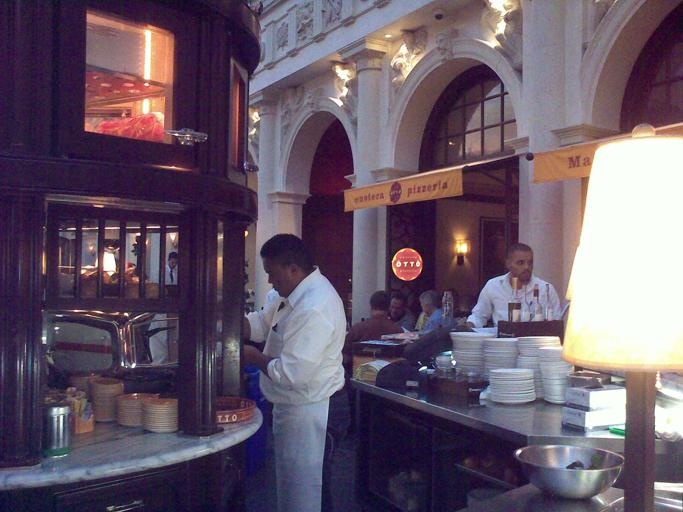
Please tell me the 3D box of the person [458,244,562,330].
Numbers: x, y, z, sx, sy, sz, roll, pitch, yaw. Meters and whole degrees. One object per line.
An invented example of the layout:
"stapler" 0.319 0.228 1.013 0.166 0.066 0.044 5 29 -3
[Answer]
"person" 1.513 0.468 5.750 0.803 1.184 0.662 1 -2 12

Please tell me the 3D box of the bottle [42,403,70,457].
"bottle" -1.286 0.782 2.937 0.108 0.224 0.126 -1 -3 -14

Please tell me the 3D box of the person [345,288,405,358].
"person" 0.355 0.700 7.076 0.561 0.643 0.929 -1 -3 -9

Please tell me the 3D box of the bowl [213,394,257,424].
"bowl" -0.570 0.827 3.527 0.213 0.096 0.474 -1 -3 -10

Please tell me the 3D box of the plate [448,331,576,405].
"plate" 1.015 0.711 4.261 0.487 0.342 0.426 -5 -6 29

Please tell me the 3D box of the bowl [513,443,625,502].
"bowl" 0.935 0.887 2.553 0.337 0.132 0.347 1 -16 0
